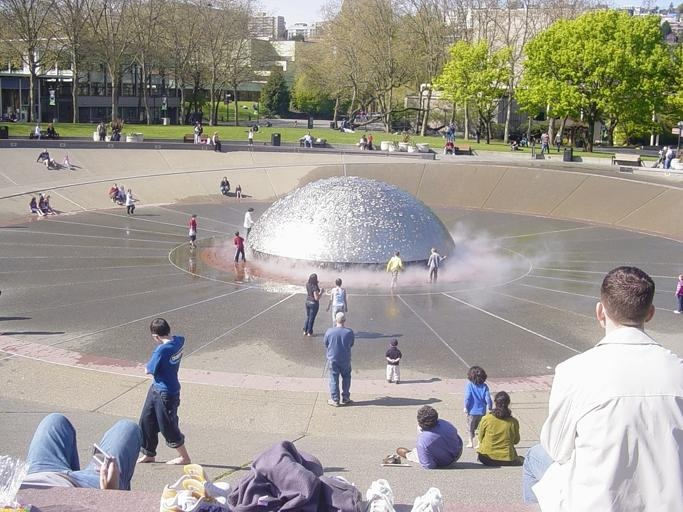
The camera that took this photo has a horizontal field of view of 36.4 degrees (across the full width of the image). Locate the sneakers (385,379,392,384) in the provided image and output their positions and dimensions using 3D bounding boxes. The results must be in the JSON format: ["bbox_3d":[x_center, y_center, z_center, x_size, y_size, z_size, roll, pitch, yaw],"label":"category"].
[{"bbox_3d":[1.425,3.732,30.763,0.065,0.079,0.209,-5,11,-41],"label":"sneakers"}]

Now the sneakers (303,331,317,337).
[{"bbox_3d":[-0.962,2.550,33.277,0.388,0.180,0.135,-2,13,-22],"label":"sneakers"}]
